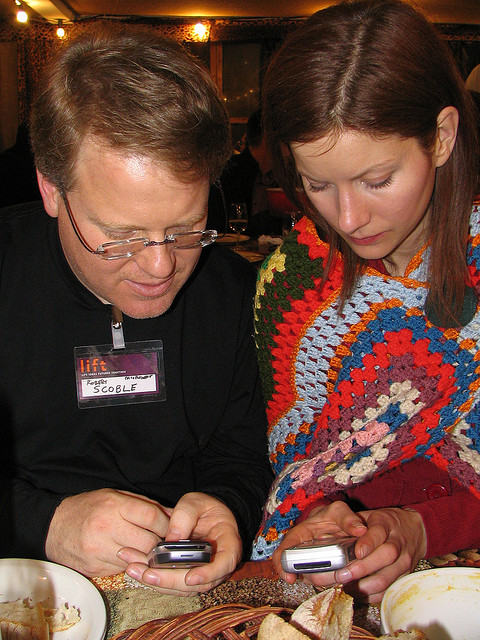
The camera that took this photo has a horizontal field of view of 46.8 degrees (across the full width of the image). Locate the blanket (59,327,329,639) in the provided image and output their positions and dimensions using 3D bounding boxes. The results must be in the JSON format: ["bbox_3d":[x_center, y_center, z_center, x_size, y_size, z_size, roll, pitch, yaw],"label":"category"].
[{"bbox_3d":[-0.121,0.294,1.182,0.525,0.181,0.626,3,11,3],"label":"blanket"}]

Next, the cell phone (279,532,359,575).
[{"bbox_3d":[0.145,0.412,0.978,0.110,0.047,0.178,-13,-18,19],"label":"cell phone"}]

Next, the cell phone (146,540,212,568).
[{"bbox_3d":[-0.101,0.389,0.924,0.104,0.046,0.045,-2,27,-4],"label":"cell phone"}]
